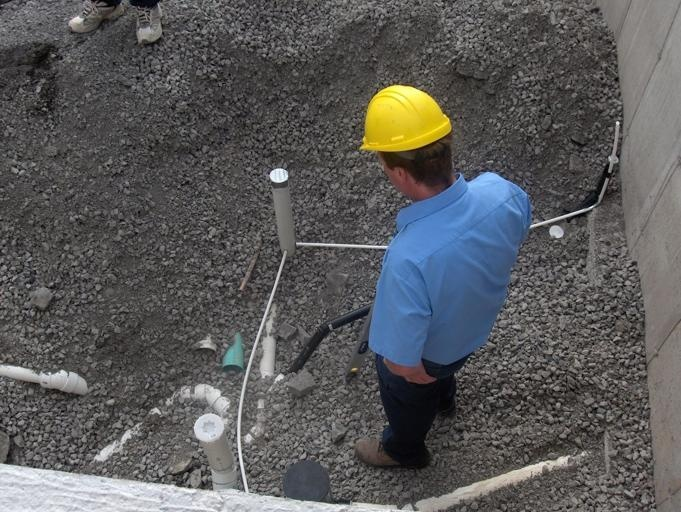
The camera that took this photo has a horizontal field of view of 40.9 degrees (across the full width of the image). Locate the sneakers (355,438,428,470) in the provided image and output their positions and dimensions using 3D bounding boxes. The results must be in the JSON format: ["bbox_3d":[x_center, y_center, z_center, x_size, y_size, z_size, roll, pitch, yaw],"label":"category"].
[{"bbox_3d":[0.430,1.616,7.327,0.600,0.219,0.233,5,70,11],"label":"sneakers"}]

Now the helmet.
[{"bbox_3d":[0.448,-0.899,6.516,0.473,0.304,0.560,-34,36,-24],"label":"helmet"}]
